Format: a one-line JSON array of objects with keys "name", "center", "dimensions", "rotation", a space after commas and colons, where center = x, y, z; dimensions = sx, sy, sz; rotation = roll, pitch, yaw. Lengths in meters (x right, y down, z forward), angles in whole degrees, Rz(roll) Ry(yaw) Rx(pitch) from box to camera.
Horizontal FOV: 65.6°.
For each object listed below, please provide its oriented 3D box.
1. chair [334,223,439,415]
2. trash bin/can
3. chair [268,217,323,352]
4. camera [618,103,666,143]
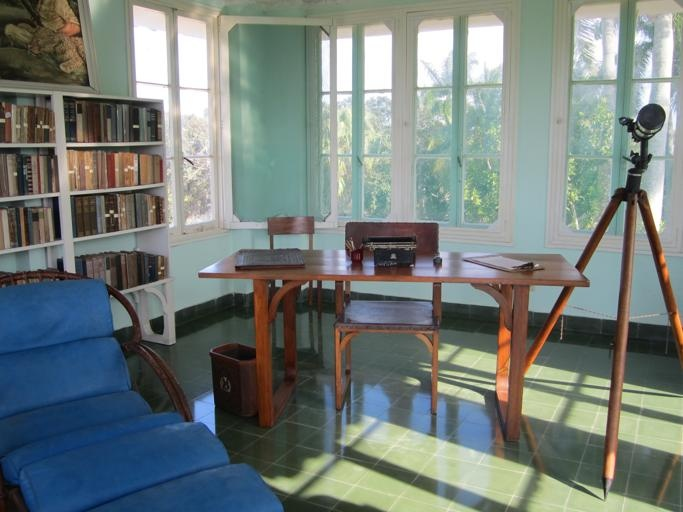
[{"name": "chair", "center": [0.357, 0.404, 3.892], "dimensions": [0.876, 1.343, 0.930], "rotation": [4, 8, 28]}, {"name": "trash bin/can", "center": [-0.748, 0.863, 3.640], "dimensions": [0.282, 0.502, 0.484], "rotation": [-3, 3, -44]}, {"name": "chair", "center": [-0.533, 0.130, 5.517], "dimensions": [0.623, 0.946, 0.649], "rotation": [-14, 36, -22]}, {"name": "camera", "center": [1.778, -0.783, 3.117], "dimensions": [0.223, 0.218, 0.311], "rotation": [10, 17, 36]}]
